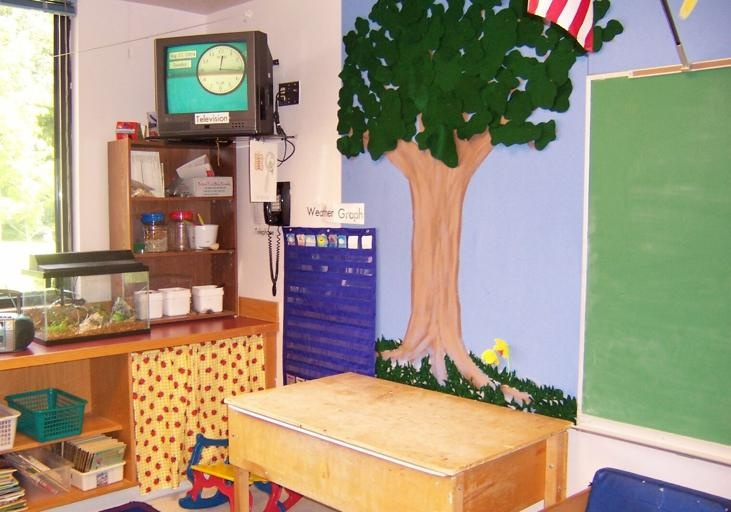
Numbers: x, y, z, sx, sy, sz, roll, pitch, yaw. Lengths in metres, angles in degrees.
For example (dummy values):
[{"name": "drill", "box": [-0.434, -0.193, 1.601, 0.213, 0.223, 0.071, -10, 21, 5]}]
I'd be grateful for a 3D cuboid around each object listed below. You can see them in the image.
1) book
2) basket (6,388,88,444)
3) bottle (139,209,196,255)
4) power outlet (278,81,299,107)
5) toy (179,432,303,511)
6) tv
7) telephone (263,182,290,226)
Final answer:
[{"name": "book", "box": [-1.730, 1.258, 3.526, 0.350, 0.230, 0.519, -3, 6, -39]}, {"name": "basket", "box": [-1.930, 0.944, 3.563, 0.273, 0.171, 0.376, -3, 14, -44]}, {"name": "bottle", "box": [-1.368, -0.157, 4.070, 0.380, 0.297, 0.217, -2, 6, -26]}, {"name": "power outlet", "box": [-0.502, -1.063, 3.880, 0.172, 0.162, 0.052, 3, 3, 41]}, {"name": "toy", "box": [-0.760, 1.374, 3.762, 0.481, 0.631, 0.643, -4, -10, 29]}, {"name": "tv", "box": [-0.953, -1.041, 3.627, 0.711, 0.606, 0.163, 0, 12, 15]}, {"name": "telephone", "box": [-0.602, -0.353, 3.986, 0.172, 0.320, 0.165, 6, 8, 25]}]
